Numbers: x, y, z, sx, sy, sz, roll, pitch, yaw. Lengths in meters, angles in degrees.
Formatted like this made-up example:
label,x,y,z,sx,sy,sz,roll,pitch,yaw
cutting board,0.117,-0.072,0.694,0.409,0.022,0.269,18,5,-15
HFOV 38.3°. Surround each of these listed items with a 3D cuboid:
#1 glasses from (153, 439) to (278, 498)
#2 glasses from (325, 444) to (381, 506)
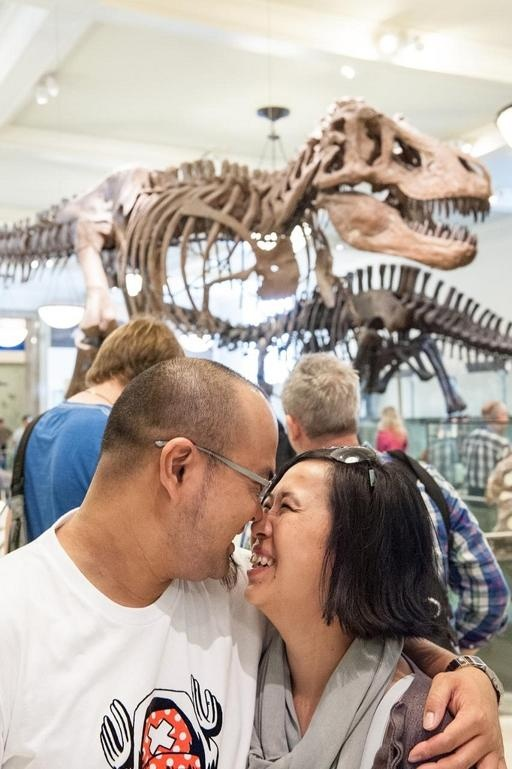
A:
label,x,y,z,sx,sy,sz,roll,pitch,yaw
glasses,-0.054,0.165,1.420,0.142,0.038,0.134,29,-1,-7
glasses,0.199,0.166,1.502,0.072,0.048,0.100,28,16,34
